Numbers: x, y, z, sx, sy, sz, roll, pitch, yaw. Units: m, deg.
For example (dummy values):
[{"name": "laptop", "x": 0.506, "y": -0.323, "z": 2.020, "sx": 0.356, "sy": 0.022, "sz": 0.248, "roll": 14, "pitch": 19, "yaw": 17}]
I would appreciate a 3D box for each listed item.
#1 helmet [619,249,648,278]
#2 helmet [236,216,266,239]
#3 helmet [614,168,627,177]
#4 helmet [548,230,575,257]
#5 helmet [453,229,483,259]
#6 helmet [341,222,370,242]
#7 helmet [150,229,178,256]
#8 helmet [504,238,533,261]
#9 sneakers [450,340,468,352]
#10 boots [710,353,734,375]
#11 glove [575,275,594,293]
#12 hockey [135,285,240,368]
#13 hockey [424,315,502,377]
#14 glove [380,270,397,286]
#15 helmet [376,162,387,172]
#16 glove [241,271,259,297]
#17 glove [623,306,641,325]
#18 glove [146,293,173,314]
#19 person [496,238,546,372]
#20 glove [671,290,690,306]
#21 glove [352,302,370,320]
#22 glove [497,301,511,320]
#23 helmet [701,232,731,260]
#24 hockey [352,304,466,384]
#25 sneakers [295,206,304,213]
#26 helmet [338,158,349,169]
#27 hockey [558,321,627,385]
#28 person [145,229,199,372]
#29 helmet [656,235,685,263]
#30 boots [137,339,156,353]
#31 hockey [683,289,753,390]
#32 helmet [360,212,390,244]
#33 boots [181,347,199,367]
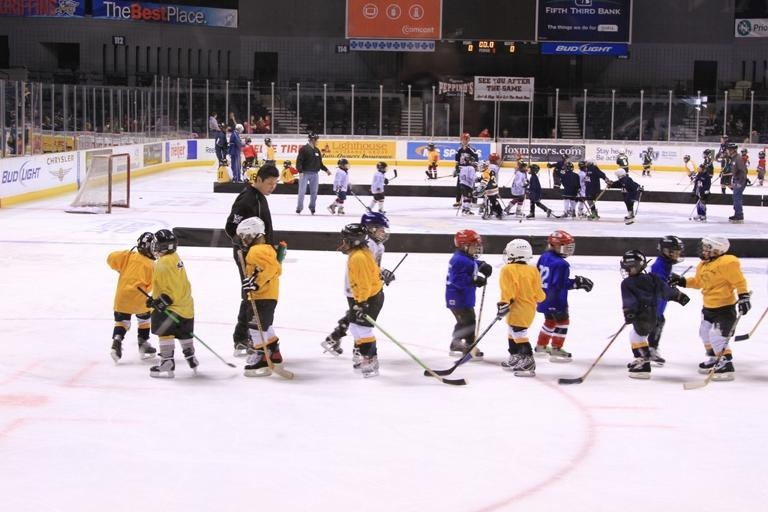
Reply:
[{"name": "helmet", "x": 2.860, "y": 0.084, "z": 10.529, "sx": 0.328, "sy": 0.281, "sz": 0.261, "roll": 11, "pitch": -2, "yaw": 0}, {"name": "helmet", "x": -1.442, "y": -0.302, "z": 10.292, "sx": 0.295, "sy": 0.204, "sz": 0.207, "roll": -1, "pitch": 14, "yaw": -1}, {"name": "helmet", "x": 4.924, "y": -1.712, "z": 19.439, "sx": 0.214, "sy": 0.172, "sz": 0.153, "roll": -24, "pitch": 31, "yaw": 29}, {"name": "helmet", "x": 2.125, "y": -0.150, "z": 11.119, "sx": 0.339, "sy": 0.293, "sz": 0.252, "roll": 2, "pitch": 4, "yaw": 11}, {"name": "helmet", "x": 1.018, "y": -0.147, "z": 11.069, "sx": 0.329, "sy": 0.286, "sz": 0.283, "roll": -5, "pitch": 8, "yaw": -2}, {"name": "helmet", "x": -0.313, "y": -0.262, "z": 10.542, "sx": 0.236, "sy": 0.161, "sz": 0.196, "roll": -6, "pitch": 12, "yaw": -7}, {"name": "helmet", "x": -2.420, "y": -0.164, "z": 10.330, "sx": 0.235, "sy": 0.286, "sz": 0.298, "roll": -20, "pitch": 40, "yaw": -41}, {"name": "helmet", "x": 1.554, "y": -0.078, "z": 10.635, "sx": 0.232, "sy": 0.252, "sz": 0.284, "roll": -10, "pitch": 22, "yaw": -40}, {"name": "sneakers", "x": 0.893, "y": 1.042, "z": 11.043, "sx": 0.084, "sy": 0.095, "sz": 0.238, "roll": 0, "pitch": -8, "yaw": -40}, {"name": "boots", "x": 3.775, "y": 1.205, "z": 10.421, "sx": 0.375, "sy": 0.247, "sz": 0.121, "roll": -6, "pitch": 12, "yaw": -32}, {"name": "glove", "x": 2.354, "y": 0.321, "z": 10.947, "sx": 0.182, "sy": 0.084, "sz": 0.244, "roll": 20, "pitch": -4, "yaw": 28}, {"name": "hockey", "x": -2.278, "y": 0.838, "z": 10.818, "sx": 1.196, "sy": 0.095, "sz": 0.146, "roll": 44, "pitch": 29, "yaw": 7}, {"name": "hockey", "x": 0.945, "y": 1.070, "z": 11.064, "sx": 0.072, "sy": 0.873, "sz": 0.211, "roll": 28, "pitch": 38, "yaw": -11}, {"name": "glove", "x": 0.049, "y": 0.227, "z": 10.866, "sx": 0.187, "sy": 0.180, "sz": 0.079, "roll": -37, "pitch": -26, "yaw": 13}, {"name": "helmet", "x": -0.014, "y": -1.866, "z": 19.757, "sx": 0.243, "sy": 0.222, "sz": 0.187, "roll": 7, "pitch": 16, "yaw": -10}, {"name": "glove", "x": -1.444, "y": 0.298, "z": 10.221, "sx": 0.229, "sy": 0.219, "sz": 0.085, "roll": -28, "pitch": -15, "yaw": 19}, {"name": "glove", "x": 2.737, "y": 0.655, "z": 10.389, "sx": 0.156, "sy": 0.181, "sz": 0.096, "roll": 2, "pitch": 10, "yaw": 12}, {"name": "glove", "x": -2.414, "y": 0.498, "z": 10.104, "sx": 0.247, "sy": 0.165, "sz": 0.114, "roll": -1, "pitch": -17, "yaw": 33}, {"name": "person", "x": 1.550, "y": 0.573, "z": 10.531, "sx": 0.475, "sy": 1.470, "sz": 0.364, "roll": 2, "pitch": 10, "yaw": 12}, {"name": "glove", "x": 3.378, "y": 0.469, "z": 10.556, "sx": 0.200, "sy": 0.079, "sz": 0.158, "roll": 21, "pitch": -4, "yaw": -4}, {"name": "glove", "x": -0.248, "y": 0.595, "z": 10.319, "sx": 0.173, "sy": 0.195, "sz": 0.128, "roll": 0, "pitch": 10, "yaw": 0}, {"name": "glove", "x": 1.350, "y": 0.586, "z": 10.459, "sx": 0.146, "sy": 0.194, "sz": 0.244, "roll": 1, "pitch": 10, "yaw": 8}, {"name": "helmet", "x": 3.781, "y": -0.103, "z": 10.696, "sx": 0.309, "sy": 0.253, "sz": 0.252, "roll": 5, "pitch": 4, "yaw": 17}, {"name": "hockey", "x": 0.298, "y": 1.047, "z": 10.943, "sx": 1.214, "sy": 0.183, "sz": 0.125, "roll": 37, "pitch": -30, "yaw": 7}, {"name": "sneakers", "x": -1.735, "y": -0.952, "z": 19.587, "sx": 0.092, "sy": 0.136, "sz": 0.137, "roll": 28, "pitch": -15, "yaw": -1}, {"name": "helmet", "x": -0.770, "y": -1.828, "z": 18.838, "sx": 0.220, "sy": 0.202, "sz": 0.183, "roll": -8, "pitch": 7, "yaw": -8}, {"name": "hockey", "x": 2.426, "y": 1.061, "z": 10.713, "sx": 0.528, "sy": 0.505, "sz": 1.267, "roll": 5, "pitch": 11, "yaw": 28}, {"name": "person", "x": -2.326, "y": 0.512, "z": 10.297, "sx": 0.518, "sy": 1.571, "sz": 0.474, "roll": 0, "pitch": 10, "yaw": -2}, {"name": "helmet", "x": 3.318, "y": -0.094, "z": 10.891, "sx": 0.321, "sy": 0.285, "sz": 0.251, "roll": 2, "pitch": 11, "yaw": 21}, {"name": "boots", "x": -2.705, "y": 1.028, "z": 10.855, "sx": 0.235, "sy": 0.205, "sz": 0.110, "roll": -2, "pitch": 3, "yaw": -6}, {"name": "hockey", "x": 3.870, "y": 0.986, "z": 10.797, "sx": 0.192, "sy": 1.268, "sz": 0.136, "roll": 26, "pitch": -25, "yaw": 25}, {"name": "helmet", "x": -0.117, "y": -0.342, "z": 11.006, "sx": 0.368, "sy": 0.326, "sz": 0.284, "roll": 0, "pitch": 5, "yaw": 8}, {"name": "boots", "x": -2.121, "y": 1.116, "z": 10.350, "sx": 0.103, "sy": 0.292, "sz": 0.124, "roll": -20, "pitch": -14, "yaw": -21}]
